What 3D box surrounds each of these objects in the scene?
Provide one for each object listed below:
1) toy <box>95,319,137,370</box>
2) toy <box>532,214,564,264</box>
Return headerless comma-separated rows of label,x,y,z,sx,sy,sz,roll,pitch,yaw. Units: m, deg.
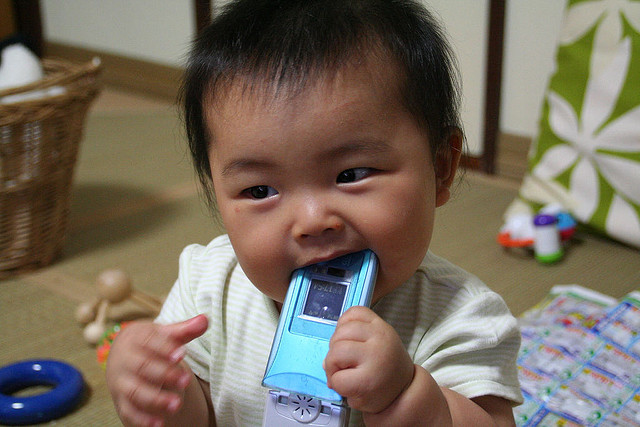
toy,-0.540,0.321,1.317,0.094,0.087,0.108,-24,40,-28
toy,0.720,0.095,1.623,0.089,0.148,0.092,-2,0,16
